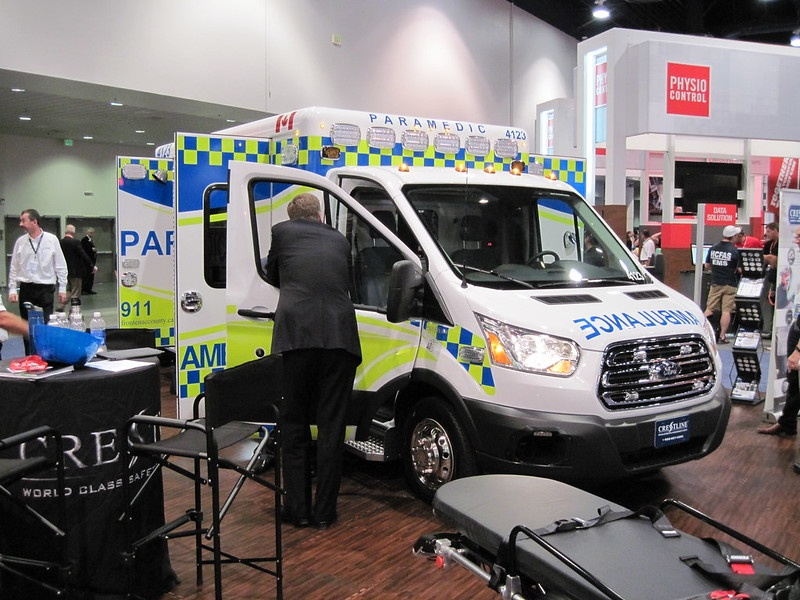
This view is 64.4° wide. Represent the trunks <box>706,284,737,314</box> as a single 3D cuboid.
[{"bbox_3d":[5.377,-0.034,10.591,0.210,0.681,0.313,-17,21,-30],"label":"trunks"}]

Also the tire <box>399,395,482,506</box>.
[{"bbox_3d":[0.249,1.071,4.489,0.279,0.721,0.663,-1,6,-42],"label":"tire"}]

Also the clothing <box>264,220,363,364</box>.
[{"bbox_3d":[-0.592,-0.056,4.353,0.535,1.012,0.629,0,-15,-11],"label":"clothing"}]

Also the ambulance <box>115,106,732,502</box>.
[{"bbox_3d":[0.093,0.005,4.962,3.146,2.038,3.632,-2,4,-39],"label":"ambulance"}]

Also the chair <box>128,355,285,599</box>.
[{"bbox_3d":[-1.077,0.943,3.630,0.797,1.385,1.499,0,7,-11],"label":"chair"}]

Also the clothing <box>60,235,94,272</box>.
[{"bbox_3d":[-6.409,-0.874,12.206,0.253,0.736,0.930,-8,-5,31],"label":"clothing"}]

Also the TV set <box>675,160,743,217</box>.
[{"bbox_3d":[7.823,-2.785,16.044,1.795,1.414,0.156,0,0,-5],"label":"TV set"}]
